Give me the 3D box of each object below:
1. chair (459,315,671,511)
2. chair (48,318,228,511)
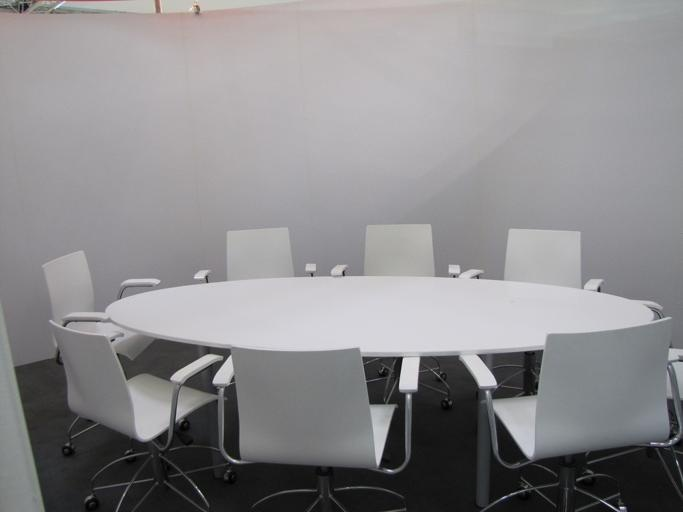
[{"bbox_3d":[1.181,0.615,2.754,0.821,0.727,0.402,-1,10,1],"label":"chair"},{"bbox_3d":[-1.198,0.974,3.372,0.772,1.083,0.722,9,17,33],"label":"chair"}]
